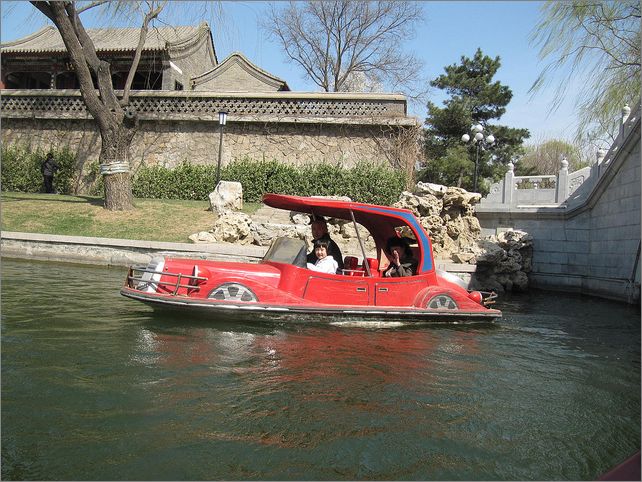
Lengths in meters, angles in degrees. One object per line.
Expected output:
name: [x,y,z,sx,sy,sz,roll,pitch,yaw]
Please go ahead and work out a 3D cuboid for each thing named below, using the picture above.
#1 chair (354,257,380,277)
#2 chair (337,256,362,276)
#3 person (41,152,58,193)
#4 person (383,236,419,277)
chair: [0.825,0.481,8.838,0.458,0.353,0.307,1,-3,-23]
chair: [0.496,0.450,8.587,0.324,0.389,0.415,2,-4,40]
person: [-12.107,-2.973,21.745,0.609,1.810,1.526,0,12,-28]
person: [1.426,0.306,8.730,0.516,0.698,0.644,13,-14,-21]
